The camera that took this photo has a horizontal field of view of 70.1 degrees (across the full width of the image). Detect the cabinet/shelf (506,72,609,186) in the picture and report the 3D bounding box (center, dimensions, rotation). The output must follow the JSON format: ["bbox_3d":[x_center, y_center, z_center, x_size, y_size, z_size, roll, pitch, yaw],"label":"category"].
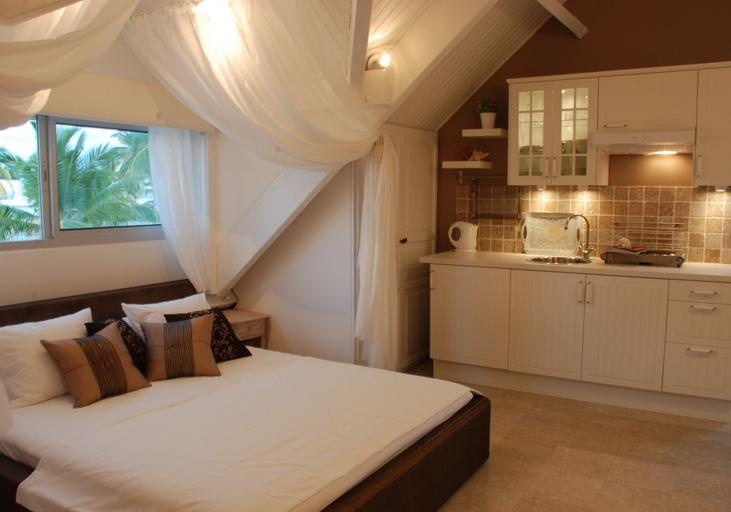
[{"bbox_3d":[1.696,-1.077,4.841,0.792,0.987,0.384,1,0,9],"label":"cabinet/shelf"}]

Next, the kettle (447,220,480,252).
[{"bbox_3d":[0.948,-0.186,5.164,0.309,0.334,0.228,-2,2,5],"label":"kettle"}]

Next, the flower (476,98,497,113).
[{"bbox_3d":[1.193,-1.447,5.057,0.175,0.146,0.122,-5,13,-18],"label":"flower"}]

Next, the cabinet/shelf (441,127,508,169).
[{"bbox_3d":[1.074,-1.037,5.149,0.601,0.403,0.333,3,13,17],"label":"cabinet/shelf"}]

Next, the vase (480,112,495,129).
[{"bbox_3d":[1.182,-1.295,5.092,0.141,0.126,0.158,0,-5,-6],"label":"vase"}]
